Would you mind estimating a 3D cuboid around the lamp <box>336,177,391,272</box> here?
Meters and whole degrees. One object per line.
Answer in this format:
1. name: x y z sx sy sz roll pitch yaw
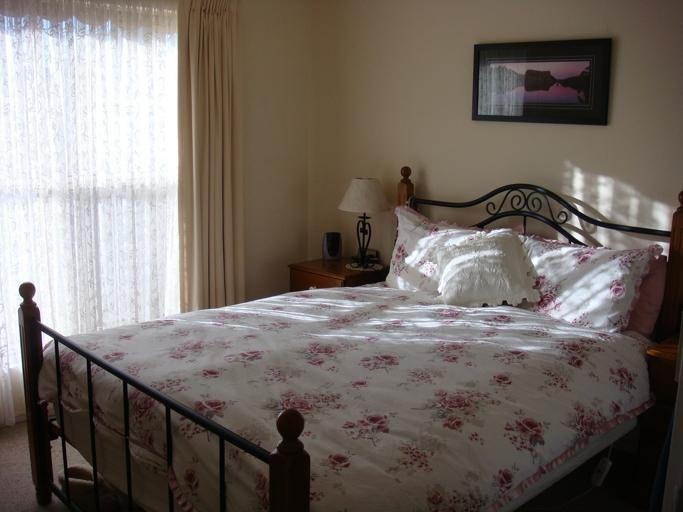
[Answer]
1. lamp: 0.168 -0.250 4.138 0.369 0.713 0.372 12 20 30
